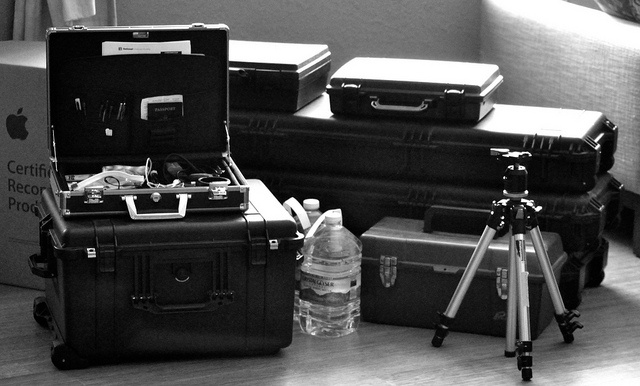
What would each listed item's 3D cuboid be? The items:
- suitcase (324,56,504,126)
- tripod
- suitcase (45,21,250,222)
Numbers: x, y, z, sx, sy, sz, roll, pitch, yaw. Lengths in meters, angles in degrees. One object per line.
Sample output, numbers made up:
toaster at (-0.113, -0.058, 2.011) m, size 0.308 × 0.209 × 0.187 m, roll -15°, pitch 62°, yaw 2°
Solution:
suitcase at (0.381, -0.409, 2.735) m, size 0.621 × 0.174 × 0.367 m, roll 9°, pitch 27°, yaw 15°
tripod at (0.653, 0.255, 2.341) m, size 0.545 × 0.704 × 0.523 m, roll -22°, pitch 30°, yaw -40°
suitcase at (-0.574, -0.235, 2.236) m, size 0.618 × 0.530 × 0.438 m, roll -5°, pitch 27°, yaw -13°
